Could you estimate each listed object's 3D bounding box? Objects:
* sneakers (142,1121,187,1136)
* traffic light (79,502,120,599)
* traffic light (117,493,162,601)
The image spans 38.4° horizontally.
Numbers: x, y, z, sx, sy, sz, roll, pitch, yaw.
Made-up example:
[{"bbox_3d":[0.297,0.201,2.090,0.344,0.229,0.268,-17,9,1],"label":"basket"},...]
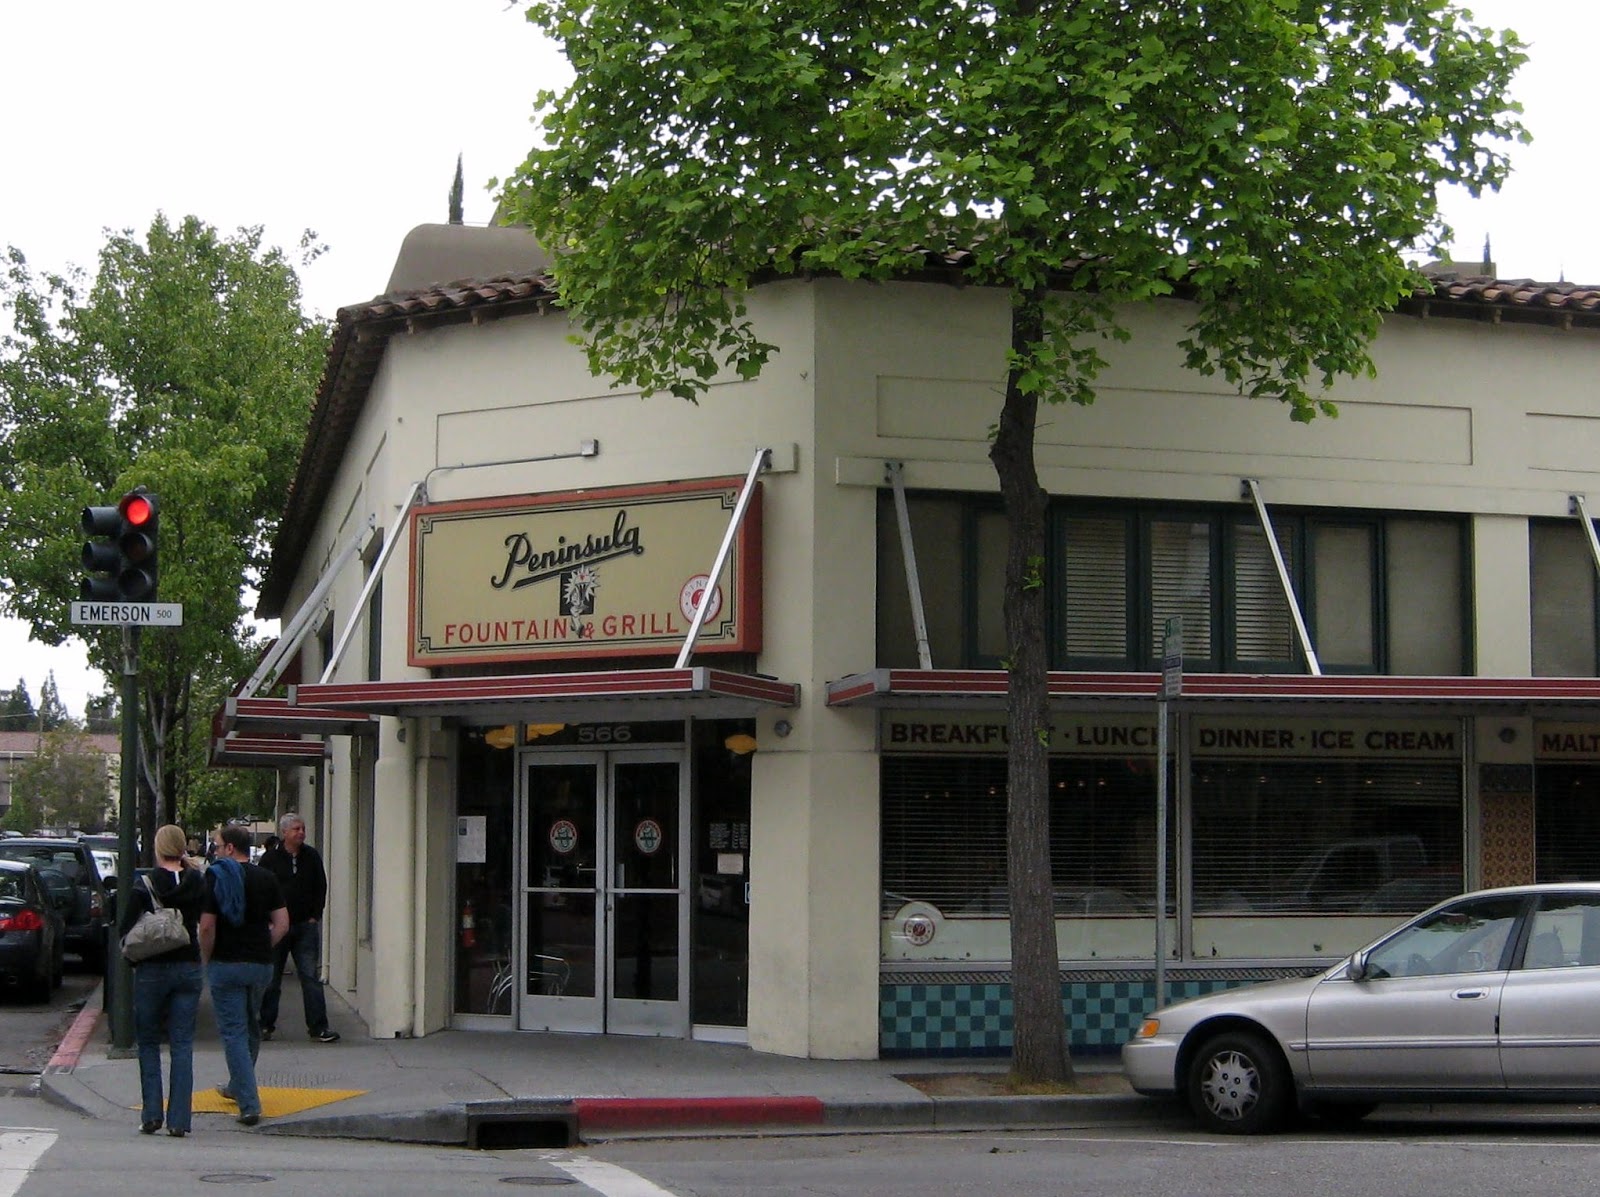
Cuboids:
[{"bbox_3d":[-5.196,4.314,18.867,0.393,0.113,0.197,-4,-14,15],"label":"sneakers"},{"bbox_3d":[-6.633,-0.476,21.953,0.389,0.969,0.527,4,-13,-18],"label":"traffic light"},{"bbox_3d":[-6.306,-0.518,21.957,0.348,1.092,0.378,4,-13,-17],"label":"traffic light"}]
